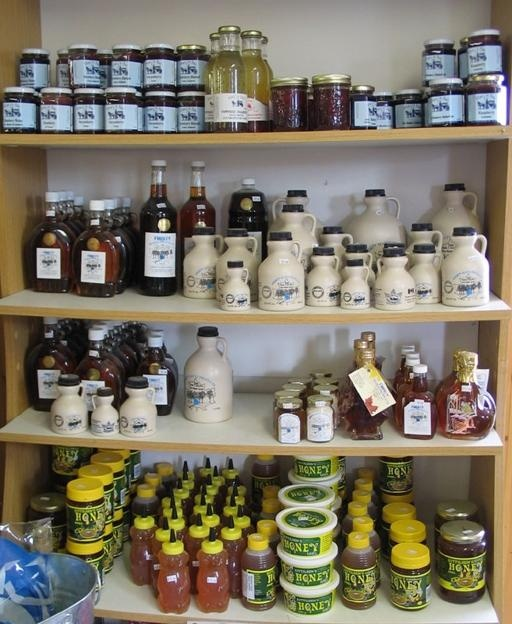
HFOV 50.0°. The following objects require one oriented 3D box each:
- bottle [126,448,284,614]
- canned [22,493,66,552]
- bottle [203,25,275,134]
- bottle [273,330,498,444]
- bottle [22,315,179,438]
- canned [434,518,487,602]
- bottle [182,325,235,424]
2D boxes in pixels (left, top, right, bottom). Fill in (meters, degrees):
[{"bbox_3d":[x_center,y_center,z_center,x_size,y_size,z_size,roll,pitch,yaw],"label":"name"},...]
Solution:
[{"bbox_3d":[-0.120,0.535,1.410,0.265,0.160,0.392,0,3,-3],"label":"bottle"},{"bbox_3d":[-0.513,0.517,1.339,0.091,0.127,0.090,20,27,36],"label":"canned"},{"bbox_3d":[-0.026,-0.531,1.279,0.197,0.262,0.156,-2,5,-21],"label":"bottle"},{"bbox_3d":[0.353,0.174,1.345,0.447,0.241,0.234,1,5,6],"label":"bottle"},{"bbox_3d":[-0.421,0.165,1.506,0.321,0.181,0.309,0,10,0],"label":"bottle"},{"bbox_3d":[0.483,0.597,1.293,0.101,0.167,0.058,1,5,9],"label":"canned"},{"bbox_3d":[-0.120,0.161,1.398,0.121,0.246,0.082,0,5,-5],"label":"bottle"}]
